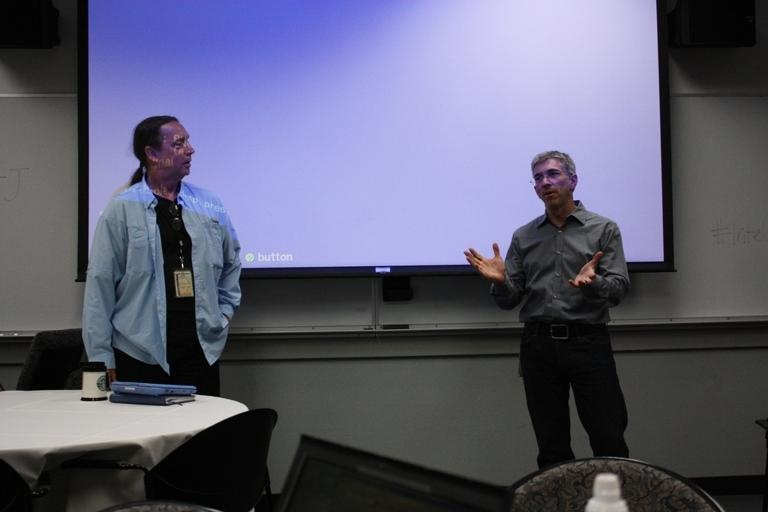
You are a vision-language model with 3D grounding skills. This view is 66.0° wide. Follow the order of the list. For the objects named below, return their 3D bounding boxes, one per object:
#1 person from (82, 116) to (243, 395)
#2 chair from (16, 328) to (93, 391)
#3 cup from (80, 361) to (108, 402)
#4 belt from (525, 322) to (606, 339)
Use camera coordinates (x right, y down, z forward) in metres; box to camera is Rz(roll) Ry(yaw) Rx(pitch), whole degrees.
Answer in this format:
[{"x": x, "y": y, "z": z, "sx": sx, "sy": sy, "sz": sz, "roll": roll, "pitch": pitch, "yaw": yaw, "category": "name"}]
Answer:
[{"x": -1.215, "y": -0.040, "z": 3.339, "sx": 0.813, "sy": 1.619, "sz": 0.379, "roll": 3, "pitch": -6, "yaw": -27, "category": "person"}, {"x": -1.852, "y": 0.592, "z": 3.348, "sx": 0.218, "sy": 0.289, "sz": 0.393, "roll": 8, "pitch": 0, "yaw": 28, "category": "chair"}, {"x": -1.379, "y": 0.596, "z": 2.830, "sx": 0.156, "sy": 0.222, "sz": 0.155, "roll": -1, "pitch": -6, "yaw": 0, "category": "cup"}, {"x": 1.014, "y": 0.417, "z": 3.334, "sx": 0.434, "sy": 0.099, "sz": 0.107, "roll": -1, "pitch": -6, "yaw": 18, "category": "belt"}]
